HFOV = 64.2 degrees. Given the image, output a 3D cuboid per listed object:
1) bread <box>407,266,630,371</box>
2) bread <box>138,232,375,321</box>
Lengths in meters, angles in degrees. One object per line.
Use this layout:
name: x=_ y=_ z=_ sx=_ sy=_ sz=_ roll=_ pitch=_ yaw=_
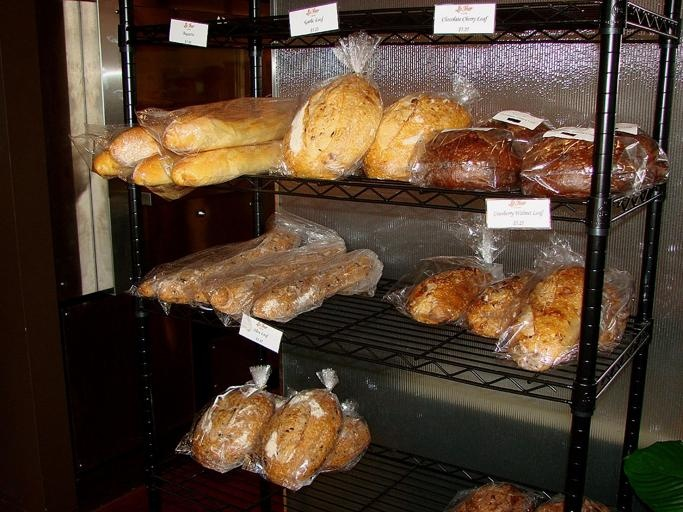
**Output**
bread: x=0.423 y=0.097 z=1.172 sx=0.335 sy=0.080 sz=0.313 roll=-20 pitch=9 yaw=-27
bread: x=-0.128 y=0.054 z=1.380 sx=0.314 sy=0.086 sz=0.316 roll=6 pitch=21 yaw=41
